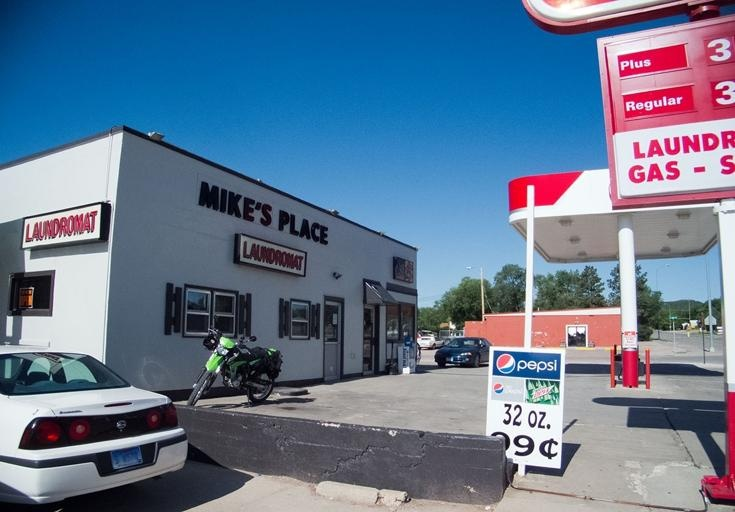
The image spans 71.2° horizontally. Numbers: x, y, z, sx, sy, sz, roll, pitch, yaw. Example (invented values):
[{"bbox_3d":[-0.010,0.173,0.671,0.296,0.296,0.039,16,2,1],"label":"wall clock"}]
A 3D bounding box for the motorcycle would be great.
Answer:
[{"bbox_3d":[-3.006,2.576,11.678,1.119,1.816,2.243,0,-4,18],"label":"motorcycle"}]

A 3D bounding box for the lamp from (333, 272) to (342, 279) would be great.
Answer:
[{"bbox_3d":[-1.036,0.717,17.710,0.120,0.234,0.322,-5,-9,31],"label":"lamp"}]

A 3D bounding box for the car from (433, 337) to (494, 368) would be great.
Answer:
[{"bbox_3d":[4.607,4.815,25.162,1.629,1.388,3.031,-2,-5,42],"label":"car"}]
